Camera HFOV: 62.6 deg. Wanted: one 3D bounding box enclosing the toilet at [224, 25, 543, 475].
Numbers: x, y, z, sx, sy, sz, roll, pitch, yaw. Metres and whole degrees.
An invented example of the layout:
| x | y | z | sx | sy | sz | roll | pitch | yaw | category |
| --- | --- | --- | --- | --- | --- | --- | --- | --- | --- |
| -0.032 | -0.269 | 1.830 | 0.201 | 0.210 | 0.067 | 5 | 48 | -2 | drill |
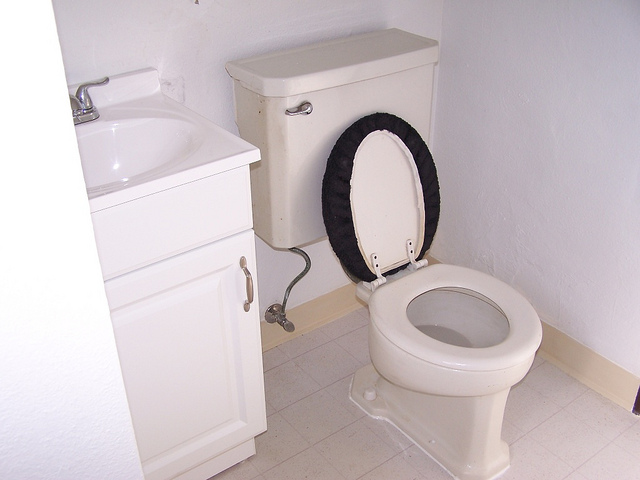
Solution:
| x | y | z | sx | sy | sz | roll | pitch | yaw | category |
| --- | --- | --- | --- | --- | --- | --- | --- | --- | --- |
| 0.249 | 0.008 | 1.558 | 0.581 | 1.023 | 0.948 | -26 | 40 | -35 | toilet |

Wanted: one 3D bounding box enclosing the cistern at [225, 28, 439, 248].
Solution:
| x | y | z | sx | sy | sz | roll | pitch | yaw | category |
| --- | --- | --- | --- | --- | --- | --- | --- | --- | --- |
| 0.068 | -0.335 | 1.652 | 0.601 | 0.537 | 0.279 | -23 | 43 | -27 | cistern |

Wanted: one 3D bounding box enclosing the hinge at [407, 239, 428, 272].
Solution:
| x | y | z | sx | sy | sz | roll | pitch | yaw | category |
| --- | --- | --- | --- | --- | --- | --- | --- | --- | --- |
| 0.295 | 0.045 | 1.613 | 0.068 | 0.115 | 0.034 | 18 | 37 | 36 | hinge |

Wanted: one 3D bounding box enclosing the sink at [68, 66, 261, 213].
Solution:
| x | y | z | sx | sy | sz | roll | pitch | yaw | category |
| --- | --- | --- | --- | --- | --- | --- | --- | --- | --- |
| -0.381 | -0.230 | 1.222 | 0.384 | 0.166 | 0.411 | -24 | 46 | -28 | sink |

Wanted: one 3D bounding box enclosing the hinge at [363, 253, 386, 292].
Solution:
| x | y | z | sx | sy | sz | roll | pitch | yaw | category |
| --- | --- | --- | --- | --- | --- | --- | --- | --- | --- |
| 0.156 | 0.095 | 1.551 | 0.075 | 0.041 | 0.131 | 17 | 67 | -16 | hinge |
